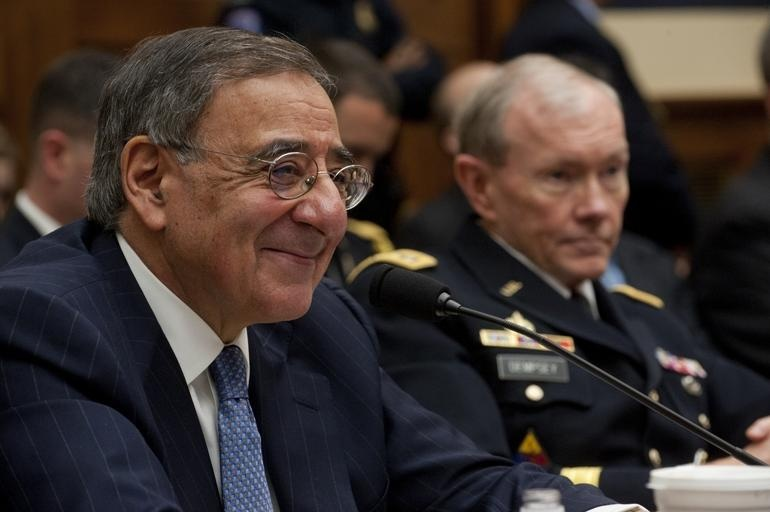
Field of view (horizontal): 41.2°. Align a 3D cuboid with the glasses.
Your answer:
[{"bbox_3d":[-0.196,-0.203,2.546,0.233,0.072,0.226,15,0,31],"label":"glasses"}]

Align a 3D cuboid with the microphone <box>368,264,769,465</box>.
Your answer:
[{"bbox_3d":[0.521,0.339,3.075,1.209,0.183,0.179,20,78,24],"label":"microphone"}]
